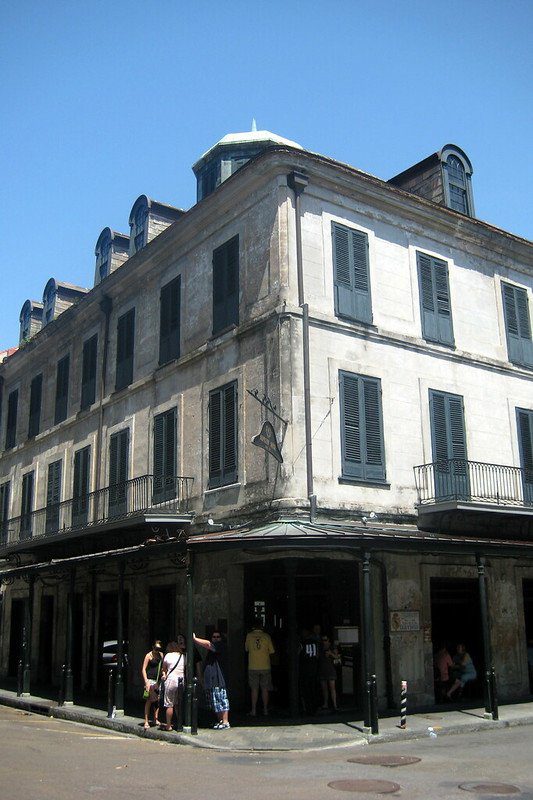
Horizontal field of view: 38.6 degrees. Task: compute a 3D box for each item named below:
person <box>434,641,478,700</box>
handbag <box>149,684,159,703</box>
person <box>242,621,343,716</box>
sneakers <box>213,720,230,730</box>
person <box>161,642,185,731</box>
[{"bbox_3d":[3.577,5.277,14.817,0.813,0.952,0.847,2,-17,-15],"label":"person"},{"bbox_3d":[-1.733,4.509,11.736,0.089,0.214,0.260,-2,-7,-3],"label":"handbag"},{"bbox_3d":[0.440,4.783,13.390,1.603,1.619,0.644,4,-43,-6],"label":"person"},{"bbox_3d":[-0.668,4.887,11.448,0.274,0.132,0.095,21,-36,-33],"label":"sneakers"},{"bbox_3d":[-1.403,4.277,11.419,0.367,1.221,0.463,5,-18,-25],"label":"person"}]
